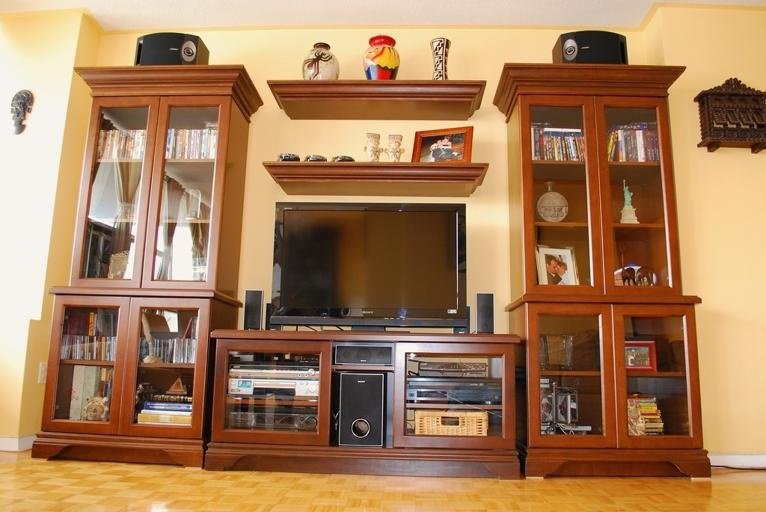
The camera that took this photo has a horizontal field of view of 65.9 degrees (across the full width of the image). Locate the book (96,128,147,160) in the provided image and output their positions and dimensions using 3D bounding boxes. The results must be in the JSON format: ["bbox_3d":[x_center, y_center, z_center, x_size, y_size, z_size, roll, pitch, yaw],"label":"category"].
[{"bbox_3d":[-1.808,-0.772,4.098,0.255,0.212,0.128,2,-1,-1],"label":"book"}]

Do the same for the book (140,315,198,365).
[{"bbox_3d":[-1.408,0.530,3.859,0.389,0.311,0.082,-1,-1,2],"label":"book"}]

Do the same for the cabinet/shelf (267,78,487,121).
[{"bbox_3d":[-0.039,-1.135,4.246,1.496,0.261,0.346,1,3,0],"label":"cabinet/shelf"}]

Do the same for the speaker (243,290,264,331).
[{"bbox_3d":[-0.864,0.371,4.021,0.153,0.274,0.101,1,-5,23],"label":"speaker"}]

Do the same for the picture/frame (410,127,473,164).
[{"bbox_3d":[0.428,-0.779,4.174,0.391,0.255,0.025,-1,-27,13],"label":"picture/frame"}]

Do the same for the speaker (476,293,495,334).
[{"bbox_3d":[0.680,0.375,3.908,0.109,0.245,0.066,1,3,0],"label":"speaker"}]

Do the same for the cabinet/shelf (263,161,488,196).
[{"bbox_3d":[-0.049,-0.543,4.173,1.512,0.223,0.384,1,3,1],"label":"cabinet/shelf"}]

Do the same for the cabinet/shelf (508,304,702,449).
[{"bbox_3d":[1.411,0.852,3.935,1.328,1.078,0.506,5,-12,-14],"label":"cabinet/shelf"}]

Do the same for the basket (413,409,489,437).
[{"bbox_3d":[0.428,1.033,3.665,0.449,0.144,0.084,1,3,4],"label":"basket"}]

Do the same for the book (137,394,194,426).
[{"bbox_3d":[-1.395,0.982,3.795,0.365,0.179,0.076,2,3,8],"label":"book"}]

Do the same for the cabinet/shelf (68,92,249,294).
[{"bbox_3d":[-1.559,-0.451,3.995,0.987,1.304,0.381,2,3,12],"label":"cabinet/shelf"}]

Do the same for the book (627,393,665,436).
[{"bbox_3d":[1.657,0.987,3.689,0.274,0.236,0.060,0,-5,-3],"label":"book"}]

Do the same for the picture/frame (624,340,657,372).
[{"bbox_3d":[1.634,0.642,3.772,0.230,0.171,0.021,2,-7,-3],"label":"picture/frame"}]

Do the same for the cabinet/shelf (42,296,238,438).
[{"bbox_3d":[-1.613,0.741,4.032,1.254,1.020,0.485,-1,-7,14],"label":"cabinet/shelf"}]

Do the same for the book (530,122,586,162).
[{"bbox_3d":[1.163,-0.753,4.044,0.499,0.232,0.410,0,1,-10],"label":"book"}]

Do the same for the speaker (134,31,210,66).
[{"bbox_3d":[-1.503,-1.456,4.268,0.450,0.199,0.285,0,1,1],"label":"speaker"}]

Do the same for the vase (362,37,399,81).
[{"bbox_3d":[-0.011,-1.420,4.224,0.244,0.335,0.156,1,3,3],"label":"vase"}]

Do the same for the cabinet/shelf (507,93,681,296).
[{"bbox_3d":[1.433,-0.419,3.914,1.040,1.314,0.263,1,3,0],"label":"cabinet/shelf"}]

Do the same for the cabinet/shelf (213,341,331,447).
[{"bbox_3d":[-0.694,0.890,3.737,0.718,0.537,0.239,0,-10,2],"label":"cabinet/shelf"}]

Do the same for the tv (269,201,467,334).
[{"bbox_3d":[-0.069,0.090,4.020,1.028,0.604,0.067,0,-7,2],"label":"tv"}]

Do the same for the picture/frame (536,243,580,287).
[{"bbox_3d":[1.154,0.067,3.894,0.334,0.307,0.034,0,-24,-5],"label":"picture/frame"}]
